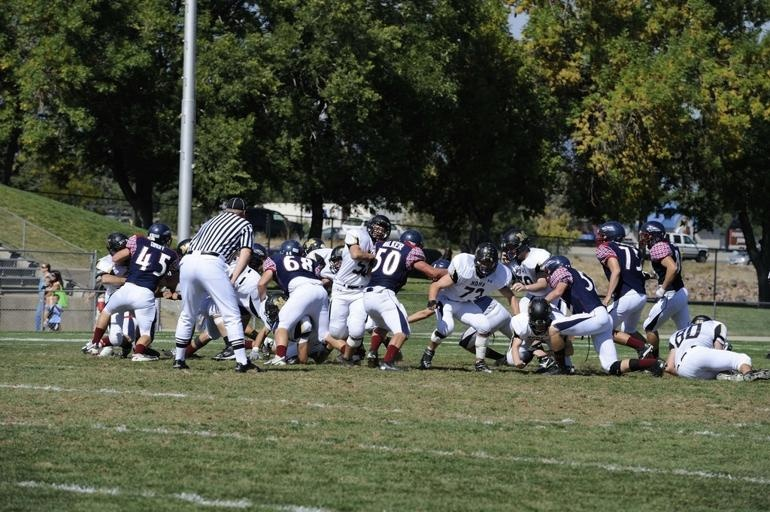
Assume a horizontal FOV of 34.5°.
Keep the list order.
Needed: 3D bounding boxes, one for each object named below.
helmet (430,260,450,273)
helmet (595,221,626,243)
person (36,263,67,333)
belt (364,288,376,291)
[{"bbox_3d":[1.360,0.233,29.746,0.323,0.243,0.298,2,20,-21],"label":"helmet"},{"bbox_3d":[5.289,-0.552,29.018,0.578,0.422,0.420,9,8,16],"label":"helmet"},{"bbox_3d":[-9.815,1.309,36.351,0.871,2.194,0.801,1,-4,7],"label":"person"},{"bbox_3d":[-0.333,0.749,27.878,0.239,0.087,0.048,-2,-7,35],"label":"belt"}]
